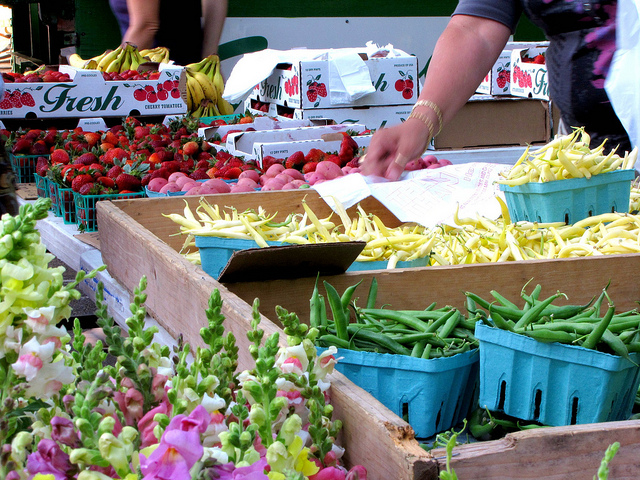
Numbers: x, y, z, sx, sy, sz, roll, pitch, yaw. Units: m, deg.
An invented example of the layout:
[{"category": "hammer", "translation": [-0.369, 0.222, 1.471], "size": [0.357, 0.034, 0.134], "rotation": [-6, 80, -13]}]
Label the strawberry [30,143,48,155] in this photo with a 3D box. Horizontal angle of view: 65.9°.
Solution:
[{"category": "strawberry", "translation": [-1.807, -0.588, 3.184], "size": [0.070, 0.058, 0.091], "rotation": [-2, 2, -25]}]

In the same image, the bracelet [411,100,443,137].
[{"category": "bracelet", "translation": [0.560, -0.628, 2.549], "size": [0.140, 0.147, 0.034], "rotation": [0, -2, -6]}]

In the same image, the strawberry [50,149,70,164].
[{"category": "strawberry", "translation": [-1.520, -0.491, 2.901], "size": [0.075, 0.089, 0.075], "rotation": [33, -44, -23]}]

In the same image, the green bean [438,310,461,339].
[{"category": "green bean", "translation": [0.284, 0.188, 1.087], "size": [0.023, 0.019, 0.105], "rotation": [14, 41, 24]}]

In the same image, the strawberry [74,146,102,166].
[{"category": "strawberry", "translation": [-1.311, -0.471, 2.818], "size": [0.140, 0.066, 0.070], "rotation": [-12, 14, -41]}]

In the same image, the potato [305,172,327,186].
[{"category": "potato", "translation": [-0.018, -0.316, 2.414], "size": [0.085, 0.069, 0.065], "rotation": [-9, 27, -3]}]

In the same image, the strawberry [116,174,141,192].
[{"category": "strawberry", "translation": [-0.982, -0.295, 2.548], "size": [0.096, 0.064, 0.078], "rotation": [7, 4, 19]}]

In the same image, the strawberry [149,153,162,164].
[{"category": "strawberry", "translation": [-0.964, -0.483, 2.896], "size": [0.075, 0.043, 0.073], "rotation": [-19, 49, -40]}]

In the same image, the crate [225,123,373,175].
[{"category": "crate", "translation": [-0.126, -0.550, 3.007], "size": [0.669, 0.237, 0.975], "rotation": [-22, 20, -38]}]

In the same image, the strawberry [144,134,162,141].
[{"category": "strawberry", "translation": [-1.092, -0.674, 3.252], "size": [0.061, 0.049, 0.080], "rotation": [-4, 6, -23]}]

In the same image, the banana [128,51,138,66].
[{"category": "banana", "translation": [-1.765, -1.722, 4.704], "size": [0.043, 0.146, 0.059], "rotation": [-14, 2, -19]}]

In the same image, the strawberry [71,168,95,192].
[{"category": "strawberry", "translation": [-1.187, -0.298, 2.482], "size": [0.085, 0.100, 0.099], "rotation": [33, 40, 26]}]

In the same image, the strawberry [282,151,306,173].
[{"category": "strawberry", "translation": [-0.140, -0.457, 2.864], "size": [0.143, 0.095, 0.115], "rotation": [-10, -3, 14]}]

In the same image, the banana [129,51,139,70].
[{"category": "banana", "translation": [-1.732, -1.689, 4.627], "size": [0.079, 0.191, 0.201], "rotation": [-3, 11, -20]}]

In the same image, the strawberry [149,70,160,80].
[{"category": "strawberry", "translation": [-1.388, -1.387, 4.160], "size": [0.069, 0.069, 0.071], "rotation": [7, 23, -3]}]

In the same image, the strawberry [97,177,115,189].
[{"category": "strawberry", "translation": [-1.089, -0.296, 2.534], "size": [0.040, 0.047, 0.084], "rotation": [0, -14, 45]}]

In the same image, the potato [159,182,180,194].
[{"category": "potato", "translation": [-0.710, -0.247, 2.341], "size": [0.069, 0.054, 0.055], "rotation": [-15, -18, 7]}]

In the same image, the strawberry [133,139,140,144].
[{"category": "strawberry", "translation": [-1.225, -0.660, 3.307], "size": [0.043, 0.025, 0.044], "rotation": [-8, 7, -7]}]

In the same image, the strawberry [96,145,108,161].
[{"category": "strawberry", "translation": [-1.318, -0.527, 2.980], "size": [0.040, 0.083, 0.079], "rotation": [6, -1, -9]}]

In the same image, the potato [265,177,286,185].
[{"category": "potato", "translation": [-0.211, -0.282, 2.379], "size": [0.054, 0.038, 0.066], "rotation": [2, 6, 2]}]

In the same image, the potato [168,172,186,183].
[{"category": "potato", "translation": [-0.721, -0.307, 2.501], "size": [0.063, 0.076, 0.065], "rotation": [2, -11, -11]}]

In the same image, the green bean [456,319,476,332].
[{"category": "green bean", "translation": [0.333, 0.195, 1.122], "size": [0.060, 0.017, 0.016], "rotation": [8, -2, -3]}]

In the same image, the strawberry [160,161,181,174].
[{"category": "strawberry", "translation": [-0.816, -0.415, 2.728], "size": [0.090, 0.066, 0.066], "rotation": [4, -13, -17]}]

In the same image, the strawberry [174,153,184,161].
[{"category": "strawberry", "translation": [-0.848, -0.500, 2.971], "size": [0.054, 0.045, 0.042], "rotation": [12, 8, 38]}]

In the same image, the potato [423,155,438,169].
[{"category": "potato", "translation": [0.595, -0.433, 2.692], "size": [0.089, 0.108, 0.087], "rotation": [-1, 12, 4]}]

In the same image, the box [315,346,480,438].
[{"category": "box", "translation": [0.169, 0.276, 1.004], "size": [0.267, 0.113, 0.203], "rotation": [10, 14, 44]}]

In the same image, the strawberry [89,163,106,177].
[{"category": "strawberry", "translation": [-1.194, -0.377, 2.666], "size": [0.056, 0.040, 0.068], "rotation": [27, 0, 2]}]

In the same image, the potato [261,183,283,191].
[{"category": "potato", "translation": [-0.218, -0.247, 2.291], "size": [0.063, 0.047, 0.082], "rotation": [0, 4, -1]}]

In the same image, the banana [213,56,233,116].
[{"category": "banana", "translation": [-1.002, -1.566, 5.049], "size": [0.144, 0.566, 0.193], "rotation": [-7, 2, -7]}]

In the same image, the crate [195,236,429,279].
[{"category": "crate", "translation": [-0.103, -0.005, 1.603], "size": [0.655, 0.135, 0.490], "rotation": [-5, 12, -30]}]
